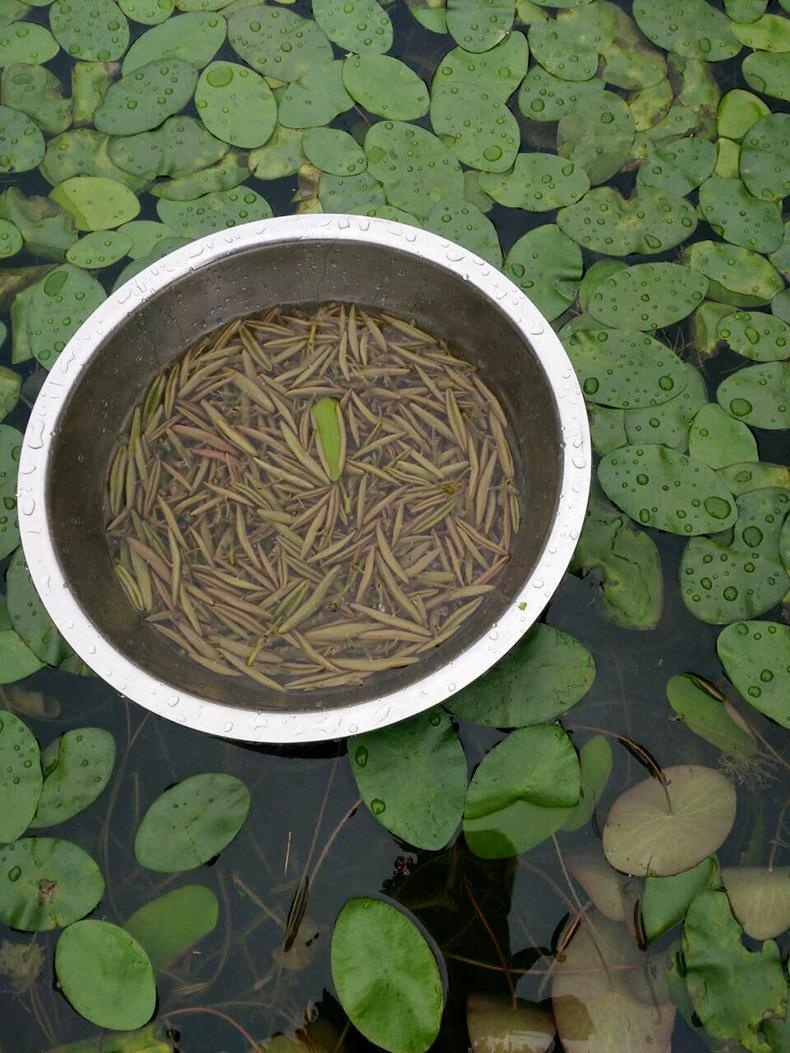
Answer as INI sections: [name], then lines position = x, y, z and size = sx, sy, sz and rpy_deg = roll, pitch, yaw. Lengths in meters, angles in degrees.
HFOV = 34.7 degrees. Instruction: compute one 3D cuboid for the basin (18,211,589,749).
[basin]
position = -0.147, -0.095, 1.973
size = 0.877, 0.300, 0.818
rpy_deg = 2, 57, -3
